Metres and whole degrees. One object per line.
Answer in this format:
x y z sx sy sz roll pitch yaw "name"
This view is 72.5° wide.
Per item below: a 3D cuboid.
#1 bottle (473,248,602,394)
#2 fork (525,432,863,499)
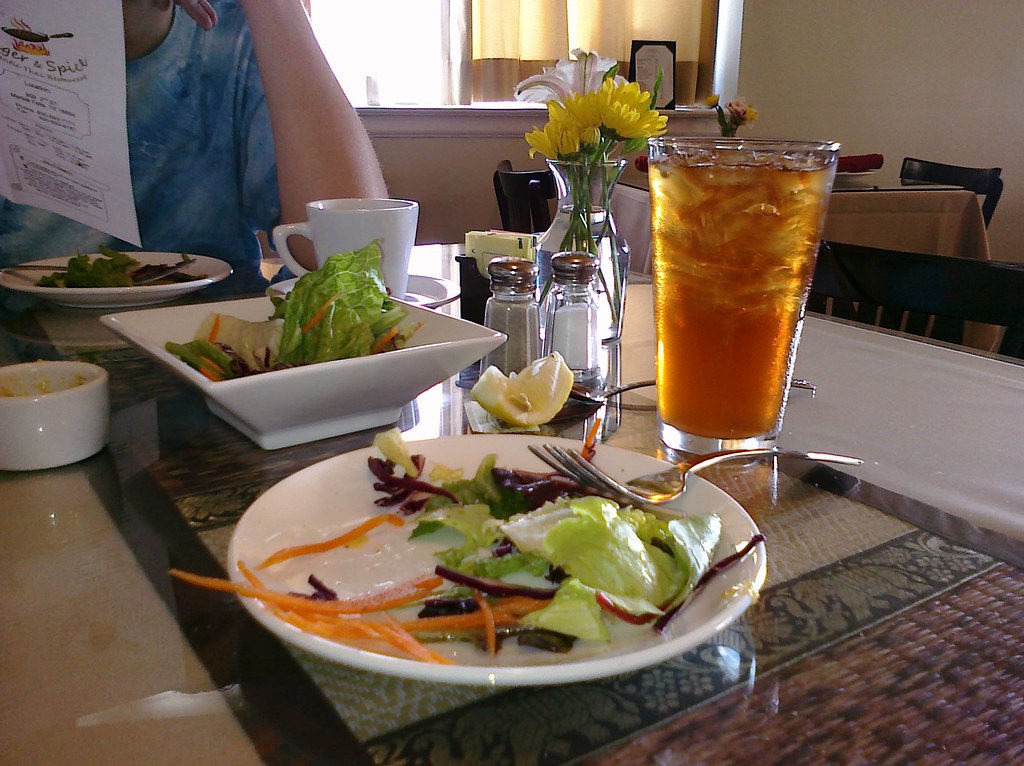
0.039 -0.080 0.878 0.213 0.201 0.109 1 15 1 "bottle"
0.161 0.075 0.615 0.286 0.040 0.049 1 2 -1 "fork"
